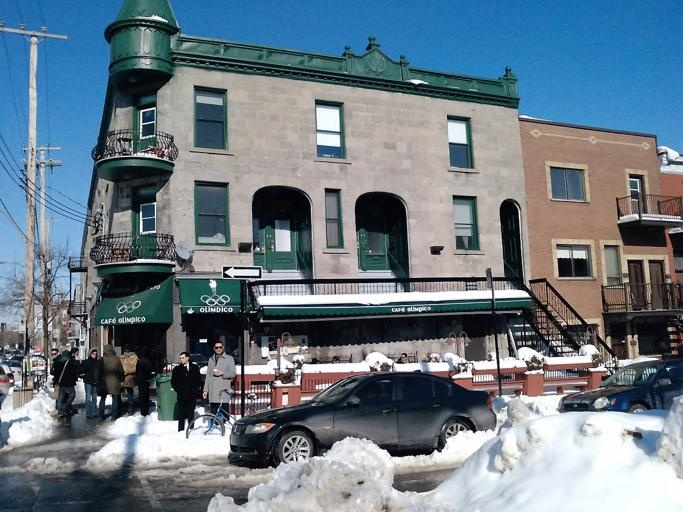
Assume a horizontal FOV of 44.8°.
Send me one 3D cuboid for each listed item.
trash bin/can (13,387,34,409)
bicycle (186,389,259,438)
[{"bbox_3d":[-10.474,4.686,27.238,0.611,0.652,0.751,4,-12,-21],"label":"trash bin/can"},{"bbox_3d":[-3.264,4.356,22.687,1.885,1.395,0.987,3,-7,-26],"label":"bicycle"}]
